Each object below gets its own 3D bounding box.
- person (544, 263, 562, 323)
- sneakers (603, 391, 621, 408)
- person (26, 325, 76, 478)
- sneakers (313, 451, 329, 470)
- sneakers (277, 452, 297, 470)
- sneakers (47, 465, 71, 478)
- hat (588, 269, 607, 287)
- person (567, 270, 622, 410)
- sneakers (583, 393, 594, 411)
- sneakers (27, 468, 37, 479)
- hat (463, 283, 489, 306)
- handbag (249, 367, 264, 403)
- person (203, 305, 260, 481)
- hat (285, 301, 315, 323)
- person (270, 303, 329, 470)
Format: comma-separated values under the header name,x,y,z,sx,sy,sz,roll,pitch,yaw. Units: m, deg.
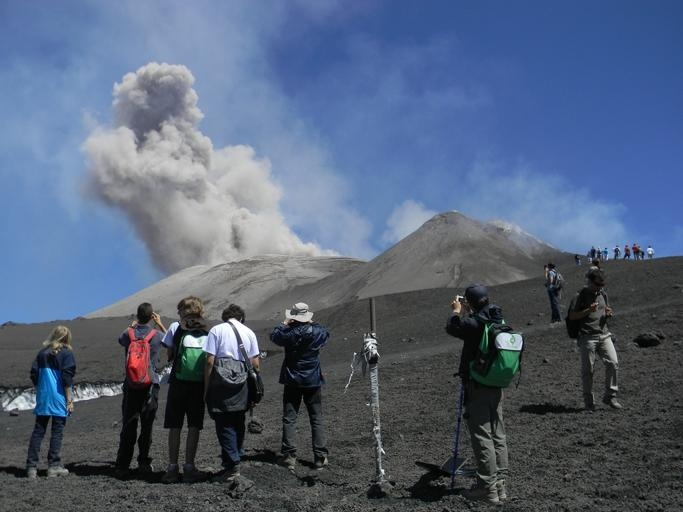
name,x,y,z,sx,sy,sz,roll,pitch,yaw
person,5.622,0.921,18.859,0.360,1.616,1.027,-6,-19,17
sneakers,4.592,2.427,11.980,0.140,0.295,0.394,-3,4,-35
person,-4.498,2.244,11.049,0.666,2.291,0.539,3,-18,-11
sneakers,-0.321,3.172,10.983,0.226,0.241,0.362,-2,-19,4
sneakers,-0.793,3.100,10.807,0.154,0.232,0.358,4,0,-35
sneakers,-4.342,3.291,10.917,0.374,0.181,0.136,2,-2,-23
hat,4.253,0.388,12.015,0.288,0.274,0.262,-9,-12,39
person,4.191,1.417,12.006,0.727,2.243,0.982,-7,-19,20
sneakers,4.157,2.467,12.014,0.178,0.284,0.265,-7,-19,18
sneakers,-4.678,3.289,10.788,0.130,0.148,0.134,-7,-12,1
hat,1.881,0.547,9.977,0.250,0.321,0.334,4,18,-7
handbag,-1.253,1.939,10.678,0.162,0.442,0.296,2,-4,-36
person,-1.624,1.974,10.458,0.558,2.542,0.899,-17,-24,40
hat,-0.663,0.928,11.193,0.325,0.167,0.409,4,6,2
person,-0.645,1.931,11.072,0.851,2.650,0.993,0,-18,-1
